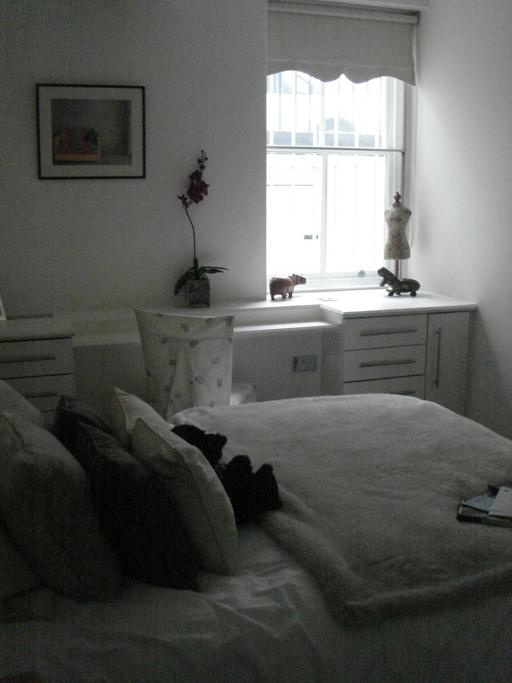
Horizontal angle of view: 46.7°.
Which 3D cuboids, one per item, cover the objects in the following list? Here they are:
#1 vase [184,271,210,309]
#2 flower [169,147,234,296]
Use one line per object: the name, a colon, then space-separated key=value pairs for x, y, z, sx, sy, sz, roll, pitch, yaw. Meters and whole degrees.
vase: x=-0.320 y=-0.300 z=3.201 sx=0.111 sy=0.222 sz=0.180 roll=0 pitch=8 yaw=-5
flower: x=-0.309 y=-0.625 z=3.267 sx=0.297 sy=0.839 sz=0.243 roll=0 pitch=8 yaw=-4
